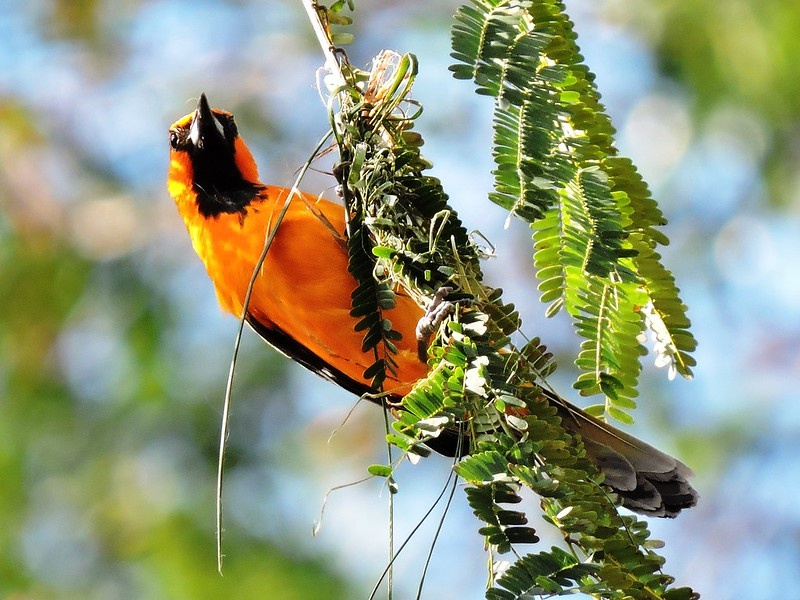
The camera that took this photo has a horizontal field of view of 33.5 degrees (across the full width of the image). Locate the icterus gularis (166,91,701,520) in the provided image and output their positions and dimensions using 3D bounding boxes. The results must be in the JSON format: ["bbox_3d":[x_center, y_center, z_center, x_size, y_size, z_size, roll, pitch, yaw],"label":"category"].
[{"bbox_3d":[0.101,0.085,6.128,2.605,1.217,0.743,36,63,18],"label":"icterus gularis"}]
